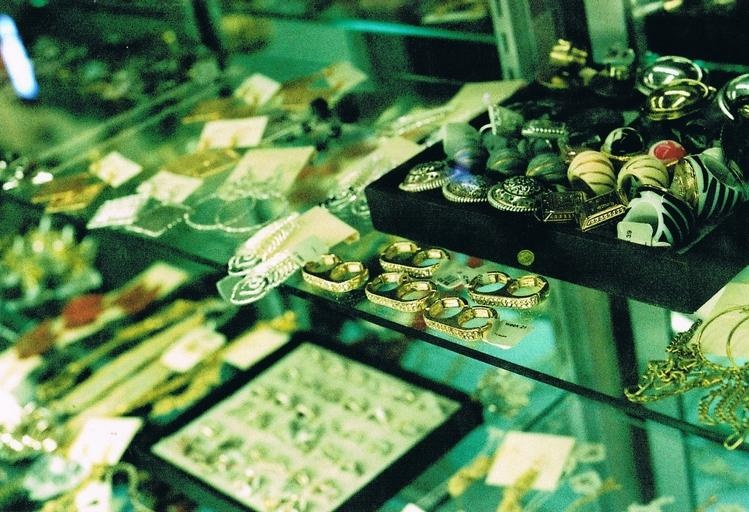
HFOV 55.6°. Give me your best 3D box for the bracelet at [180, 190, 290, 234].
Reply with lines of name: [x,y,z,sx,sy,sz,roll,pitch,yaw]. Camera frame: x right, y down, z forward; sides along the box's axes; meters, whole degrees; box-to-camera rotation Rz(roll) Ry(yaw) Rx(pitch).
bracelet: [-0.314,-0.100,1.635,0.254,0.026,0.131,2,37,17]
